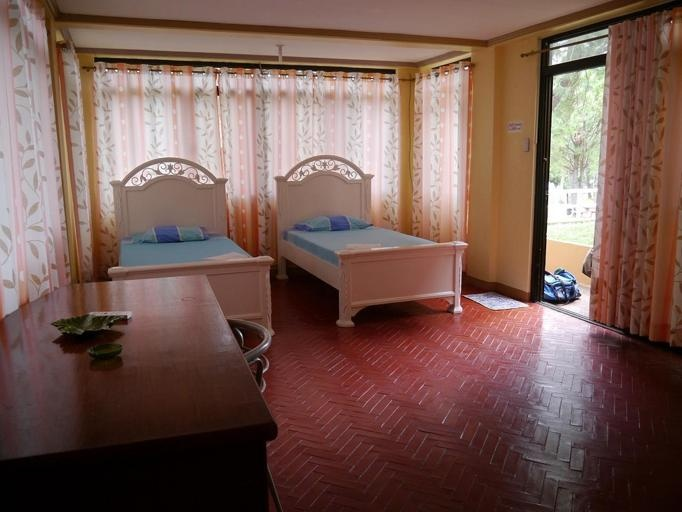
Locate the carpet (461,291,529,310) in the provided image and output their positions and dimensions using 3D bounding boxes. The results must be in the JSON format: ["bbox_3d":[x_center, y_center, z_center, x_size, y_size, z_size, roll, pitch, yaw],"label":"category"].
[{"bbox_3d":[1.766,0.505,5.272,0.514,0.012,0.618,-5,13,-19],"label":"carpet"}]

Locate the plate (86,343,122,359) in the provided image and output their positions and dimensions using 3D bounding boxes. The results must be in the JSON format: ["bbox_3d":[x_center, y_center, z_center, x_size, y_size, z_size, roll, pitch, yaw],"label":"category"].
[{"bbox_3d":[-0.760,0.302,1.502,0.067,0.029,0.057,-7,9,-38],"label":"plate"}]

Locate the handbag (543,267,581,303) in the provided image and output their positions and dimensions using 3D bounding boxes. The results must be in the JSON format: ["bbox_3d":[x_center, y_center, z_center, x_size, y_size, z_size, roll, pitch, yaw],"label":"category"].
[{"bbox_3d":[2.540,0.299,5.458,0.421,0.222,0.608,-10,15,8],"label":"handbag"}]

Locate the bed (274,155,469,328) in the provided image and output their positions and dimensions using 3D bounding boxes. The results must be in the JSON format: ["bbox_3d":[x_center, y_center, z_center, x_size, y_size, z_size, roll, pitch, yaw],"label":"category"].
[{"bbox_3d":[0.206,-0.404,5.626,1.465,1.759,2.500,-4,11,-21],"label":"bed"}]

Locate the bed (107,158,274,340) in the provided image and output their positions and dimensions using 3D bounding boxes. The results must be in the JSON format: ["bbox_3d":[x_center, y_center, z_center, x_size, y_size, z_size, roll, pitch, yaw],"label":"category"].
[{"bbox_3d":[-1.671,-0.211,4.976,1.469,1.622,2.434,-6,15,-28],"label":"bed"}]
